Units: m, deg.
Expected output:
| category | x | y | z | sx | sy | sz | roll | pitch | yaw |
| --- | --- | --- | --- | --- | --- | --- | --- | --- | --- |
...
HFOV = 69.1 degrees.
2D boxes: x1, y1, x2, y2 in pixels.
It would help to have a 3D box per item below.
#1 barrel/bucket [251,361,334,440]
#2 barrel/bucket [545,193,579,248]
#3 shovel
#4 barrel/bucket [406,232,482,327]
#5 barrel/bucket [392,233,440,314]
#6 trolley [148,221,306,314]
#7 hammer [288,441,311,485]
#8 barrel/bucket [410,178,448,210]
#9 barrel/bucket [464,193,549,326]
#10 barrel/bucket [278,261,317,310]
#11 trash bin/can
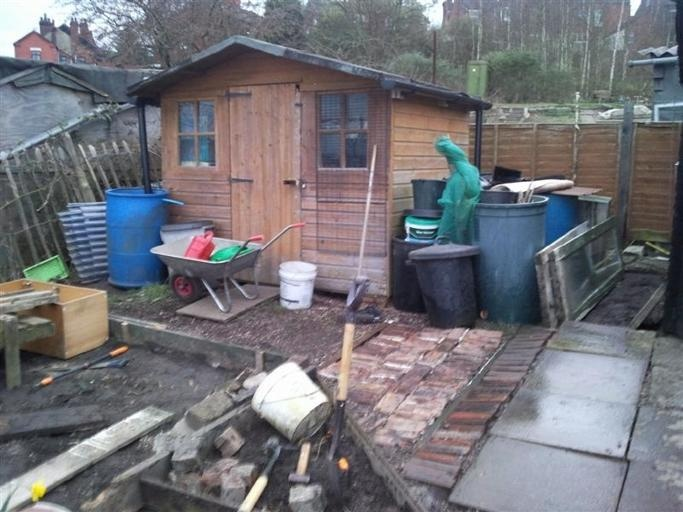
| category | x | y | z | sx | sy | sz | roll | pitch | yaw |
| --- | --- | --- | --- | --- | --- | --- | --- | --- | --- |
| barrel/bucket | -0.343 | 0.939 | 3.278 | 0.333 | 0.420 | 0.454 | 34 | 46 | 29 |
| barrel/bucket | 2.837 | -0.495 | 6.363 | 0.485 | 0.608 | 0.162 | -8 | 16 | -12 |
| shovel | -0.007 | 0.762 | 2.978 | 0.312 | 1.165 | 0.695 | 0 | 16 | 14 |
| barrel/bucket | 1.145 | 0.304 | 5.440 | 0.800 | 0.859 | 0.789 | -6 | 5 | 1 |
| barrel/bucket | 0.772 | 0.212 | 6.021 | 0.747 | 0.813 | 0.736 | -1 | 7 | 0 |
| trolley | -1.421 | 0.122 | 5.955 | 1.631 | 1.011 | 0.890 | 6 | 17 | 20 |
| hammer | -0.236 | 1.270 | 3.060 | 0.129 | 0.061 | 0.357 | 1 | 14 | 2 |
| barrel/bucket | 1.011 | -0.728 | 5.806 | 0.371 | 0.278 | 0.361 | 1 | -4 | 0 |
| barrel/bucket | 1.602 | 0.058 | 5.612 | 1.099 | 1.589 | 1.109 | 0 | 0 | 0 |
| barrel/bucket | -0.551 | 0.357 | 6.177 | 0.496 | 0.484 | 0.492 | 4 | 17 | -1 |
| trash bin/can | -2.121 | -0.047 | 6.840 | 0.808 | 0.931 | 0.746 | -1 | 4 | 13 |
